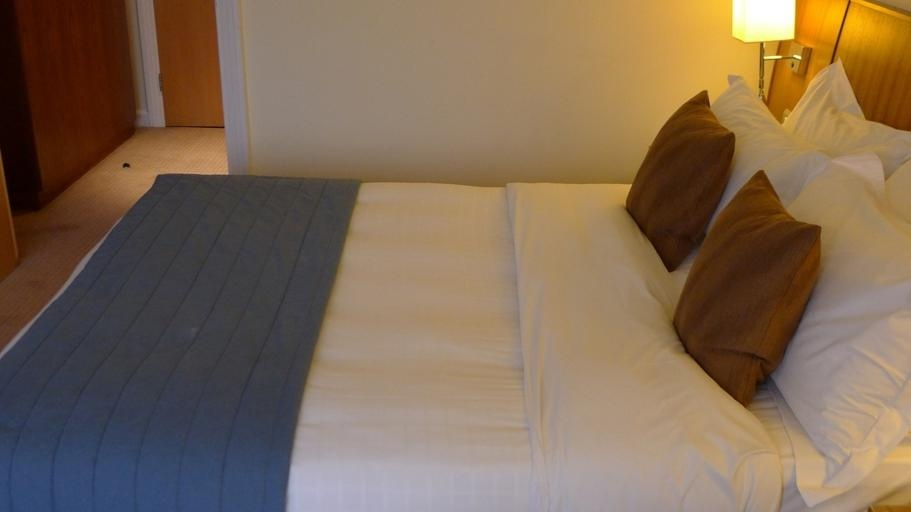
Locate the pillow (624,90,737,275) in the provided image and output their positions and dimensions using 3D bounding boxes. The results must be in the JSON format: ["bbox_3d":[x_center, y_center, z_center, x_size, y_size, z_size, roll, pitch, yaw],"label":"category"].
[{"bbox_3d":[1.046,-0.438,3.045,0.286,0.551,0.702,7,20,14],"label":"pillow"}]
